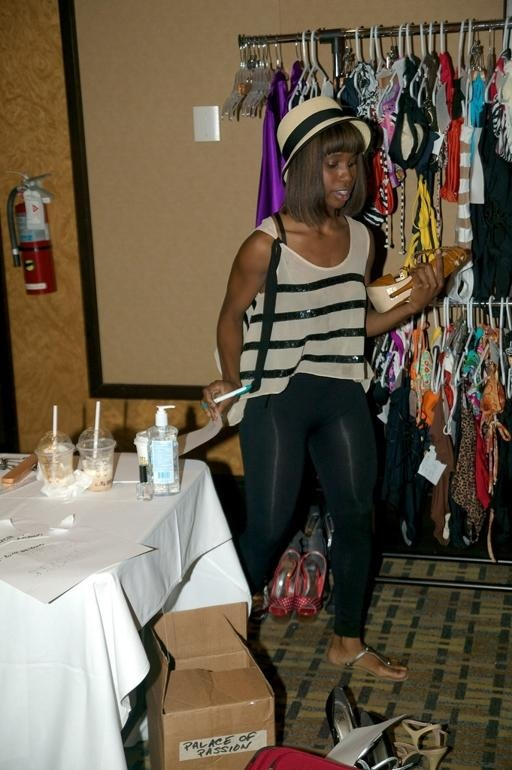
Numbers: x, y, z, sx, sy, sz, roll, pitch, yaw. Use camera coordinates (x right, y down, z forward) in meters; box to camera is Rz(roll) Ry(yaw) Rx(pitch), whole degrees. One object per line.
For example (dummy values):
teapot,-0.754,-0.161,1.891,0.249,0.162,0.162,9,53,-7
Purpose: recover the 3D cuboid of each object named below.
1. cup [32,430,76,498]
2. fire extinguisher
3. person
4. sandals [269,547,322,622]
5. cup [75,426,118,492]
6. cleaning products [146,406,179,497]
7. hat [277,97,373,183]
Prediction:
cup,-0.455,0.171,1.333,0.085,0.144,0.081,2,18,-1
fire extinguisher,-1.036,-0.683,2.696,0.186,0.508,0.275,-3,5,-20
person,0.127,0.025,1.862,0.608,1.628,0.535,-4,19,-13
sandals,0.161,0.748,2.210,0.155,0.236,0.054,4,-26,9
cup,-0.364,0.164,1.368,0.081,0.141,0.094,-2,7,-6
cleaning products,-0.195,0.139,1.308,0.084,0.193,0.075,0,8,5
hat,0.136,-0.694,1.622,0.228,0.141,0.266,-27,-17,-49
